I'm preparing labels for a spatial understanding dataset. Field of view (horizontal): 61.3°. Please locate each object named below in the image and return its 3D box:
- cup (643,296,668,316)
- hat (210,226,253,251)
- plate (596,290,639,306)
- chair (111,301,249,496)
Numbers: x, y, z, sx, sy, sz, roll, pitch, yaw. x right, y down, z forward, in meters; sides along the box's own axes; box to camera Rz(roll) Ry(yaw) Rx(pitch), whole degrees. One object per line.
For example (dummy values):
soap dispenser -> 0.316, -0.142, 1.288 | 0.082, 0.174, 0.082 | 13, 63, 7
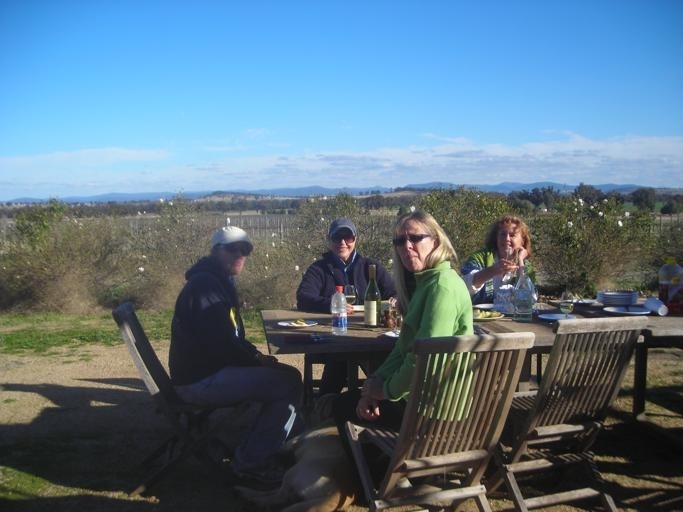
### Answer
cup -> 2.905, 0.495, 5.328 | 0.156, 0.154, 0.215 | -14, 23, -17
hat -> -1.071, -0.126, 5.563 | 0.314, 0.245, 0.506 | 4, -8, -26
plate -> 2.753, 0.425, 5.769 | 0.362, 0.149, 0.263 | 2, 7, 26
chair -> -1.561, 1.137, 5.383 | 0.924, 1.514, 1.340 | -3, 6, -16
